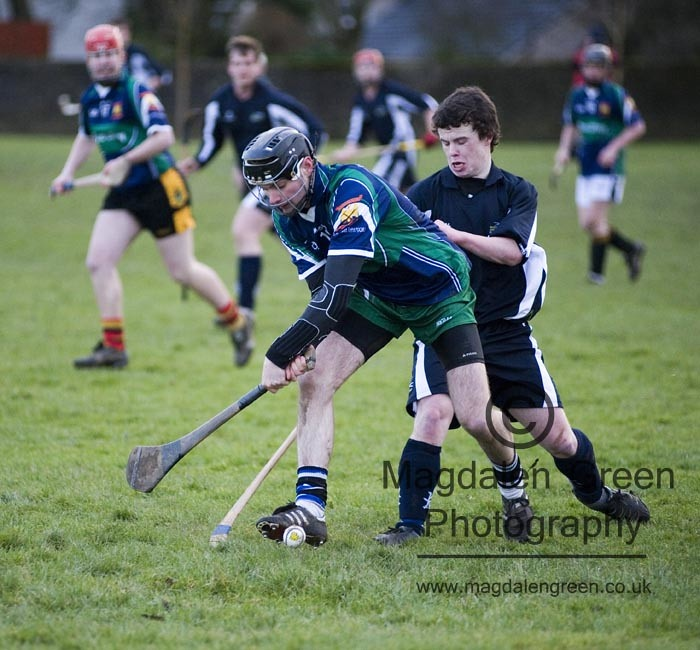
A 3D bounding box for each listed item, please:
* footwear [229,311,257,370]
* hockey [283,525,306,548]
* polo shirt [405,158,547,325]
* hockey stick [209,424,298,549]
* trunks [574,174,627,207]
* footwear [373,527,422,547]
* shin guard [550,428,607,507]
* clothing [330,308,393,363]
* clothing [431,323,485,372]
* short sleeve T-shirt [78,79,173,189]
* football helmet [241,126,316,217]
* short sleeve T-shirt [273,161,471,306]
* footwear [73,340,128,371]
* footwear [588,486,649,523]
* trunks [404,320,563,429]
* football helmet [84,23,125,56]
[{"bbox_3d":[-0.768,0.112,7.610,0.138,0.441,0.185,5,9,36],"label":"footwear"},{"bbox_3d":[-0.237,0.898,4.607,0.077,0.086,0.084,-5,-12,32],"label":"hockey"},{"bbox_3d":[0.593,-0.351,5.020,0.532,0.692,0.393,-2,10,24],"label":"polo shirt"},{"bbox_3d":[-0.469,0.800,5.227,0.052,0.104,0.898,2,34,29],"label":"hockey stick"},{"bbox_3d":[2.143,-1.150,9.382,0.341,0.318,0.552,-4,-6,34],"label":"trunks"},{"bbox_3d":[0.214,0.939,4.821,0.207,0.093,0.074,1,0,-19],"label":"footwear"},{"bbox_3d":[1.052,0.672,4.983,0.174,0.372,0.154,-26,-1,-11],"label":"shin guard"},{"bbox_3d":[0.059,0.042,4.961,0.242,0.183,0.198,39,-1,-10],"label":"clothing"},{"bbox_3d":[0.477,0.097,4.742,0.188,0.205,0.196,-23,-6,-18],"label":"clothing"},{"bbox_3d":[-1.383,-1.190,6.639,0.556,0.663,0.355,-1,14,-9],"label":"short sleeve T-shirt"},{"bbox_3d":[-0.294,-0.667,4.629,0.329,0.324,0.273,-26,8,-38],"label":"football helmet"},{"bbox_3d":[0.110,-0.368,4.811,0.863,0.463,0.687,14,-14,-29],"label":"short sleeve T-shirt"},{"bbox_3d":[-1.566,0.202,6.801,0.338,0.174,0.113,5,-5,-30],"label":"footwear"},{"bbox_3d":[1.260,0.840,5.005,0.350,0.130,0.154,9,-31,-10],"label":"footwear"},{"bbox_3d":[0.637,0.180,5.014,0.654,0.504,0.299,-3,-22,7],"label":"trunks"},{"bbox_3d":[-1.447,-1.681,6.400,0.187,0.121,0.196,0,36,-1],"label":"football helmet"}]
